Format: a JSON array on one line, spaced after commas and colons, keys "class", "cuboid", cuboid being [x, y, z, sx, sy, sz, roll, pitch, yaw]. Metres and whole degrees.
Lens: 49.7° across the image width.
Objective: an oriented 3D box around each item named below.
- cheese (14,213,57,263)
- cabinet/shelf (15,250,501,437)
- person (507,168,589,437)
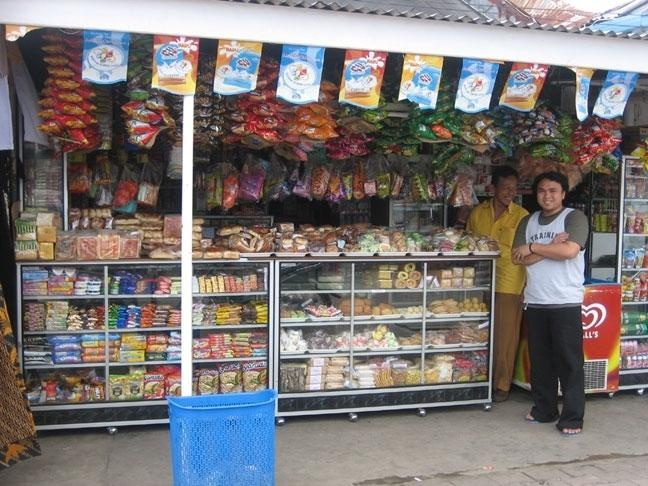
[{"class": "cheese", "cuboid": [-2.805, -0.073, 6.800, 0.398, 0.409, 0.453, -3, 11, -22]}, {"class": "cabinet/shelf", "cuboid": [-0.591, 0.969, 7.035, 4.648, 1.720, 0.481, -1, 11, -11]}, {"class": "person", "cuboid": [2.381, 0.569, 7.172, 0.882, 2.464, 0.813, 0, 1, -24]}]
